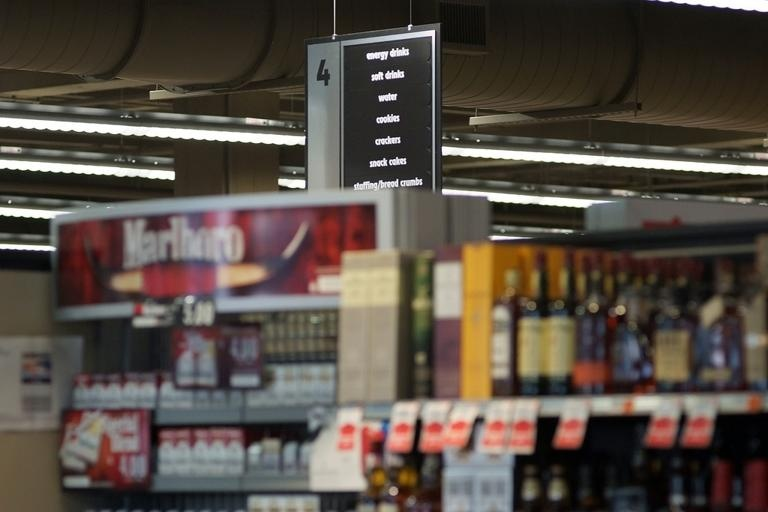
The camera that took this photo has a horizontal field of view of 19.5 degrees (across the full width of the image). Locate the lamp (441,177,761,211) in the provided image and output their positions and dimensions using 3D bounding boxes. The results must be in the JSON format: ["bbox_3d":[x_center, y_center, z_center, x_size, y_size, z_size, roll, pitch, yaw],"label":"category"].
[{"bbox_3d":[2.314,-0.810,27.185,3.168,0.348,1.295,-1,0,7],"label":"lamp"}]
